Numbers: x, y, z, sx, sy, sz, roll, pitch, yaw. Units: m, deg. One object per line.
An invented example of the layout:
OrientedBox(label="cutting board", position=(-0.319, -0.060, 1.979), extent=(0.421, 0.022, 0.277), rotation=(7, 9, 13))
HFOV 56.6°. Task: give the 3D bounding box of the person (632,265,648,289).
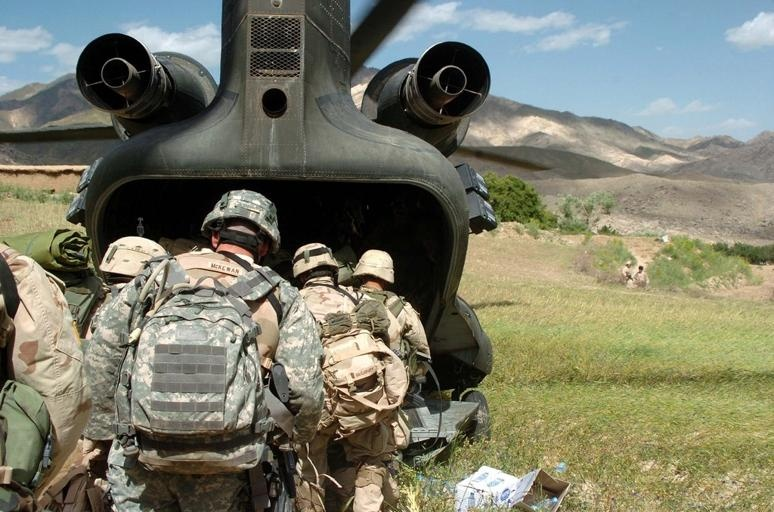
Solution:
OrientedBox(label="person", position=(7.798, 0.638, 21.982), extent=(0.470, 0.587, 0.791), rotation=(5, 6, 43))

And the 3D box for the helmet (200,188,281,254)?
OrientedBox(label="helmet", position=(-1.026, -0.240, 5.118), extent=(0.498, 0.395, 0.501), rotation=(21, -27, -28))

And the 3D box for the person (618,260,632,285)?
OrientedBox(label="person", position=(7.480, 0.562, 22.586), extent=(0.326, 0.871, 0.517), rotation=(-3, 13, -2))

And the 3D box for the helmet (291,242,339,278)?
OrientedBox(label="helmet", position=(-0.617, 0.046, 6.021), extent=(0.366, 0.300, 0.300), rotation=(-3, -1, 32))

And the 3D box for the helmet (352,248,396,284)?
OrientedBox(label="helmet", position=(-0.099, 0.081, 6.416), extent=(0.344, 0.302, 0.535), rotation=(8, -4, 3))
